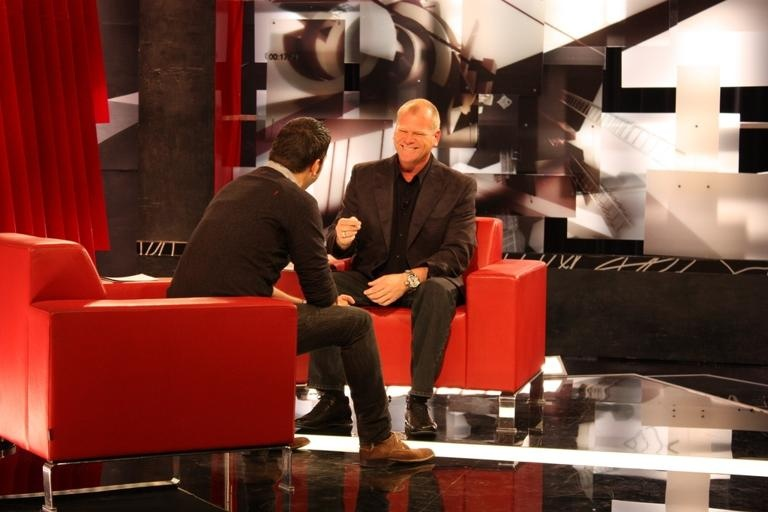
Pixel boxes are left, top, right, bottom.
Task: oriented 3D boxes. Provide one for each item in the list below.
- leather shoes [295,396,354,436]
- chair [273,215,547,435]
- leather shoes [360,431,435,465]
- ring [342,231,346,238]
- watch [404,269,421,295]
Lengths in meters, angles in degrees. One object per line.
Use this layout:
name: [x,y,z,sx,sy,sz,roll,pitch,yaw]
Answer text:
leather shoes: [-0.292,0.787,3.386,0.340,0.151,0.124,5,-7,-33]
chair: [0.208,0.404,3.748,1.663,1.289,0.946,0,-1,22]
leather shoes: [0.049,0.853,3.028,0.354,0.137,0.125,-1,-2,-6]
ring: [-0.209,-0.112,3.523,0.024,0.021,0.023,1,1,0]
watch: [0.135,0.129,3.382,0.069,0.103,0.104,-11,6,-32]
